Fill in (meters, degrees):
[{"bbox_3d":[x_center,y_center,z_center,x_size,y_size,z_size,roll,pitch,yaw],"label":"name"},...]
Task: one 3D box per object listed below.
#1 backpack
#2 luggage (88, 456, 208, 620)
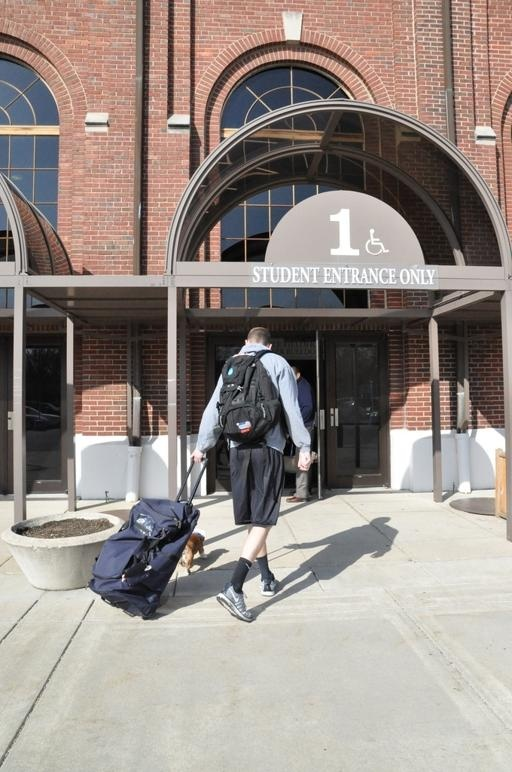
[{"bbox_3d":[-0.070,0.074,5.200,0.424,0.638,0.348,-6,-3,29],"label":"backpack"},{"bbox_3d":[-0.717,1.140,5.141,0.738,0.809,0.395,-4,6,-43],"label":"luggage"}]
